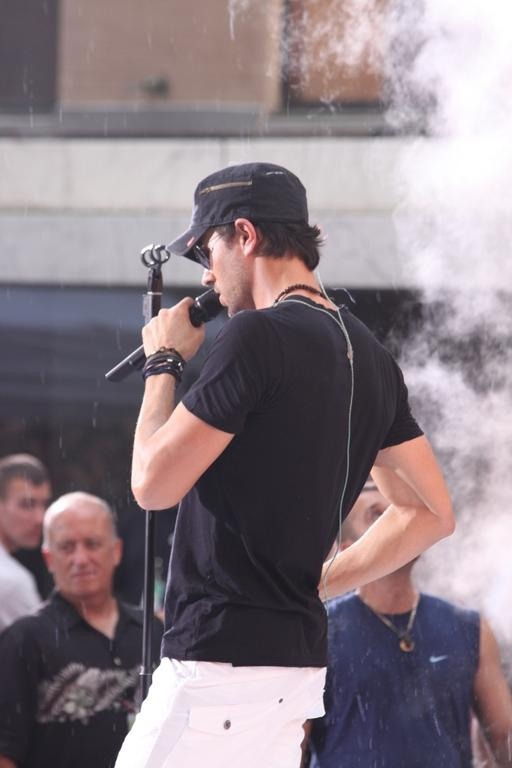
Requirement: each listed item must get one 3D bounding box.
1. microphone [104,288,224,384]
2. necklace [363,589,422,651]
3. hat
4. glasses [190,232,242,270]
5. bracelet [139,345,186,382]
[{"bbox_3d":[-0.250,-0.121,4.212,0.353,0.081,0.072,-41,-17,10],"label":"microphone"},{"bbox_3d":[0.425,0.718,4.779,0.048,0.114,0.110,-21,-5,41],"label":"necklace"},{"bbox_3d":[-0.021,-0.414,3.830,0.238,0.166,0.191,1,0,7],"label":"hat"},{"bbox_3d":[-0.093,-0.331,3.790,0.091,0.029,0.092,-39,-6,-16],"label":"glasses"},{"bbox_3d":[-0.217,-0.043,3.749,0.082,0.062,0.070,-10,-35,38],"label":"bracelet"}]
